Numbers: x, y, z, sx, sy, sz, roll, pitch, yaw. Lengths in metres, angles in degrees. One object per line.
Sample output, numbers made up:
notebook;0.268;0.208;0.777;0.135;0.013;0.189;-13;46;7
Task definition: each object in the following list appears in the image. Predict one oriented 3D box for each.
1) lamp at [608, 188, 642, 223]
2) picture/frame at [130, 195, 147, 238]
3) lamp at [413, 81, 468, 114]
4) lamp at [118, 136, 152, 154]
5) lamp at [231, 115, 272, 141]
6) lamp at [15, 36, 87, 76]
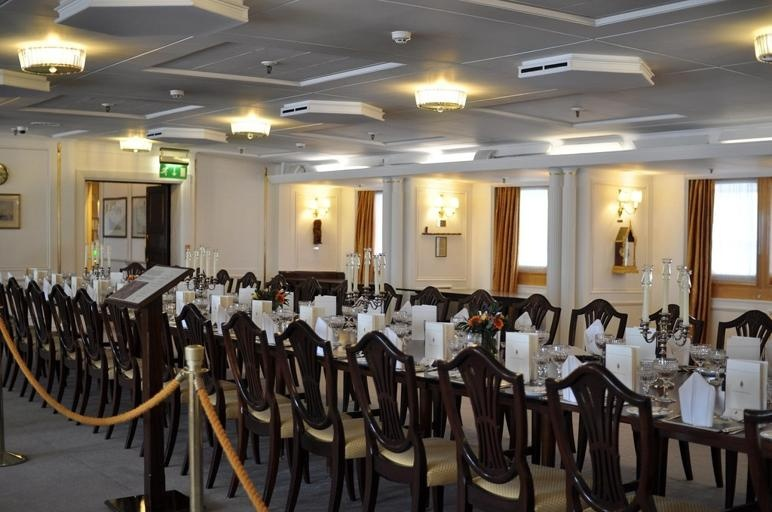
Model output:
lamp;4.512;-0.955;10.687;0.341;0.636;0.571;-1;10;20
picture/frame;-6.096;-0.994;14.242;1.103;1.235;0.051;0;-3;45
lamp;0.663;-1.928;6.994;0.633;0.264;0.456;1;3;5
lamp;-4.806;-2.180;11.110;0.525;0.264;0.369;0;3;-5
lamp;-2.112;-2.037;9.113;0.603;0.272;0.472;3;4;40
lamp;-3.377;-2.010;5.861;0.390;0.166;0.385;-1;0;-36
